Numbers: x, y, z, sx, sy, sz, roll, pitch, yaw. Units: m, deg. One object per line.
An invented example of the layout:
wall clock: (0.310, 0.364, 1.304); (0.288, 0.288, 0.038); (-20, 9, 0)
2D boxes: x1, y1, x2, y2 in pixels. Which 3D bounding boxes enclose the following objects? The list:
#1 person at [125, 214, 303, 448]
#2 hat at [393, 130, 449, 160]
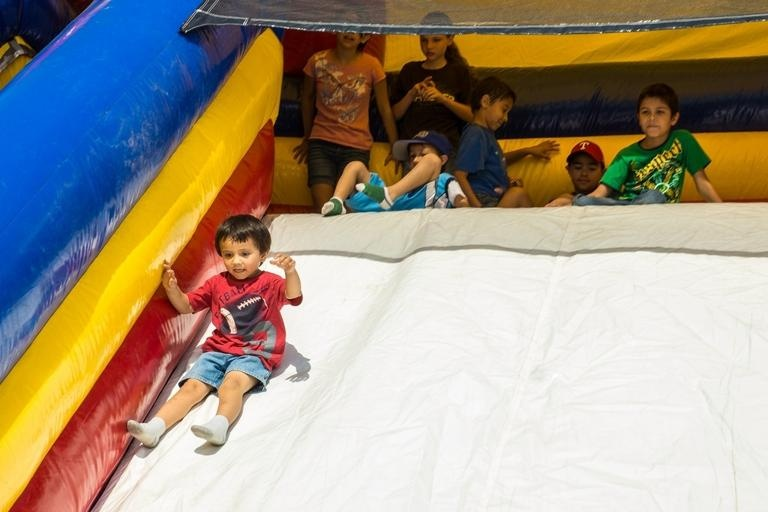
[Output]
person: (-0.502, 0.235, 2.098); (0.439, 0.753, 0.311); (11, -19, -4)
hat: (0.167, -0.503, 3.069); (0.203, 0.114, 0.135); (6, -5, 0)
